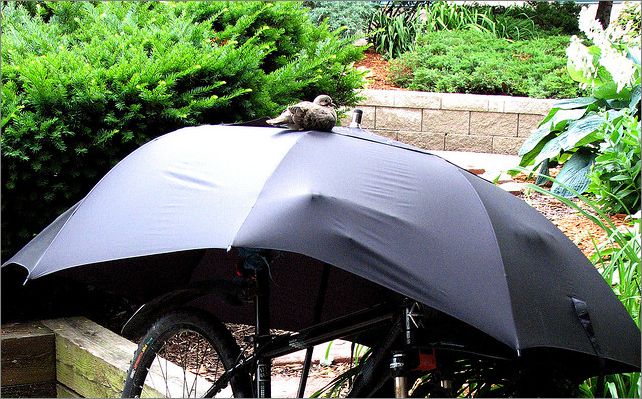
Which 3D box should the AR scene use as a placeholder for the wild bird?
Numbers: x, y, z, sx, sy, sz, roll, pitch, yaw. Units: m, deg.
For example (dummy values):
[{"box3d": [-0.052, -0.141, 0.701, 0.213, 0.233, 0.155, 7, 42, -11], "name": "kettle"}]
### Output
[{"box3d": [-0.112, -0.489, 3.206, 0.400, 0.243, 0.238, 4, 5, -21], "name": "wild bird"}]
